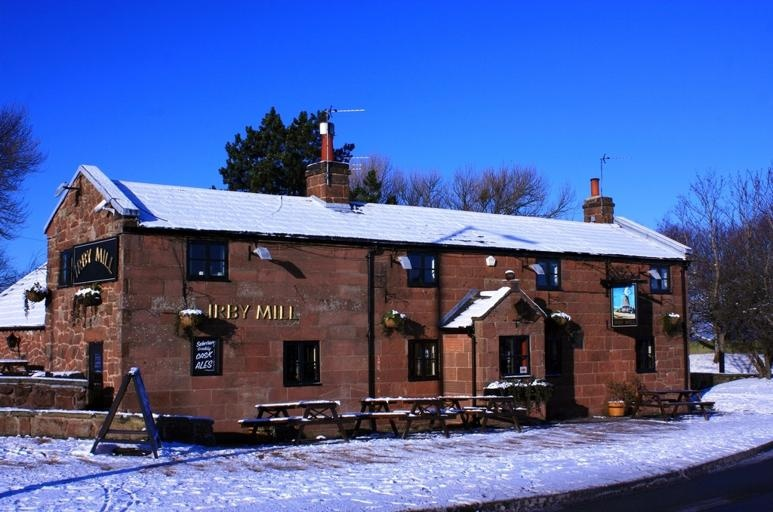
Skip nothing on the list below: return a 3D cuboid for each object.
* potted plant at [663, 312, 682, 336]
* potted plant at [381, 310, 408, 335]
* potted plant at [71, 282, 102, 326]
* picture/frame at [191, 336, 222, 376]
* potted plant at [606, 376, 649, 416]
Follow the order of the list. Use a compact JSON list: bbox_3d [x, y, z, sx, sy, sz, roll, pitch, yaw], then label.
[{"bbox_3d":[12.209,2.832,44.020,0.489,1.000,1.015,-14,-17,41],"label":"potted plant"},{"bbox_3d":[0.285,2.399,37.529,0.791,0.584,0.798,-9,-17,36],"label":"potted plant"},{"bbox_3d":[-10.281,1.621,35.523,0.583,1.287,1.980,5,-15,-31],"label":"potted plant"},{"bbox_3d":[-6.106,3.379,34.812,1.205,1.410,0.199,5,-15,-32],"label":"picture/frame"},{"bbox_3d":[9.693,5.710,42.490,1.677,1.773,1.289,3,-10,-11],"label":"potted plant"}]
